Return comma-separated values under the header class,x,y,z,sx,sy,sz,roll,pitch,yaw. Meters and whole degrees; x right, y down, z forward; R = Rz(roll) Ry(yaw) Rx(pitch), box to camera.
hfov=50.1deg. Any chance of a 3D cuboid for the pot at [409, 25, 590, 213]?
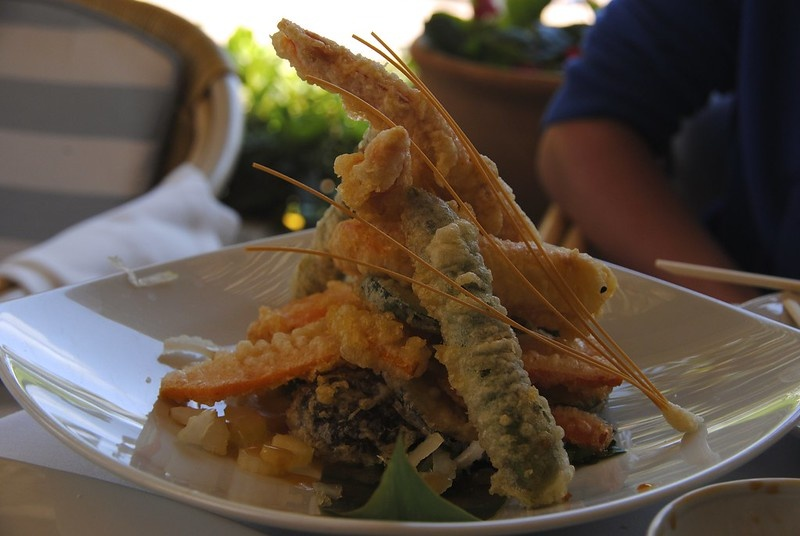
class,x,y,z,sx,sy,sz,roll,pitch,yaw
pot,0.240,-0.492,2.761,0.537,0.424,0.534,22,11,-4
